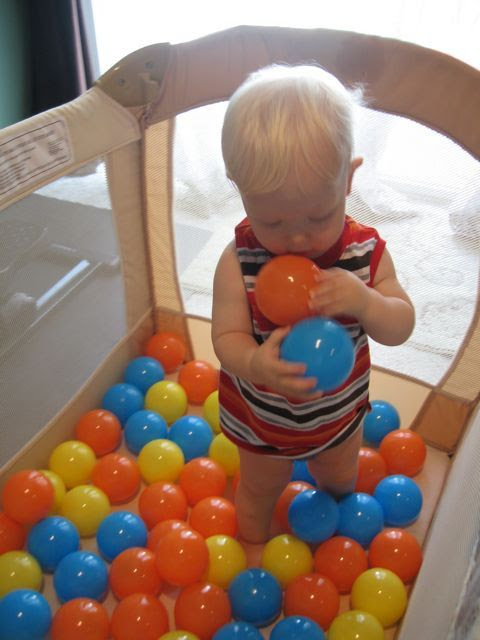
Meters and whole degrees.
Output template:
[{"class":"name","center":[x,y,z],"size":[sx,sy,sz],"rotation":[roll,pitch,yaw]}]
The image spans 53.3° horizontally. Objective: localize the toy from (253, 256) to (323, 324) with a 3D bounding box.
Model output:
[{"class":"toy","center":[0.078,-0.048,0.630],"size":[0.089,0.094,0.079],"rotation":[-6,-11,-30]}]

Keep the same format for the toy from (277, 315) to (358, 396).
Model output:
[{"class":"toy","center":[0.092,0.037,0.588],"size":[0.087,0.096,0.086],"rotation":[-26,-6,12]}]
